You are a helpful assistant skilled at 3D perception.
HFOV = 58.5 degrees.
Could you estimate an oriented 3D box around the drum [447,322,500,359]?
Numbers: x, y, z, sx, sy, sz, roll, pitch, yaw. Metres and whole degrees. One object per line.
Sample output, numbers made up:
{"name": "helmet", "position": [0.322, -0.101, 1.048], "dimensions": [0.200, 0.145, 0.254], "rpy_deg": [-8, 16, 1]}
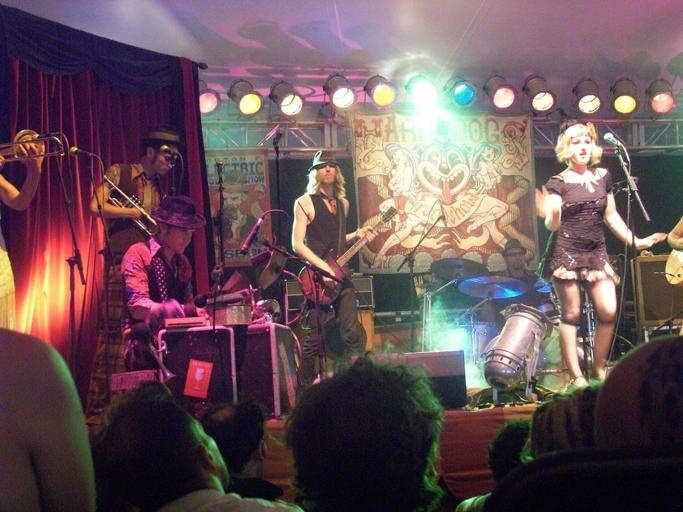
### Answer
{"name": "drum", "position": [1.505, 0.915, 6.974], "dimensions": [0.469, 0.443, 0.449], "rpy_deg": [-2, 6, -15]}
